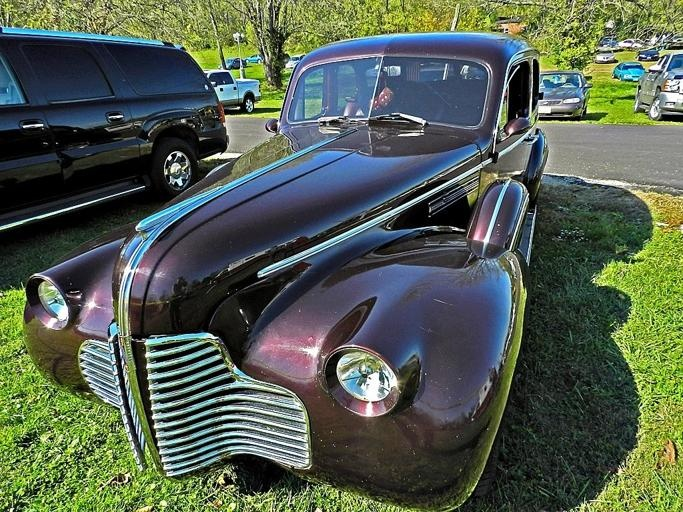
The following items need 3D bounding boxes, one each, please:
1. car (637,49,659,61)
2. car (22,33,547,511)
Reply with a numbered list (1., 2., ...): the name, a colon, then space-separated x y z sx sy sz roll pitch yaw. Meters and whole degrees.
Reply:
1. car: 25.975 -16.960 39.469 1.247 0.850 2.707 5 24 28
2. car: 0.238 -0.568 3.913 2.739 2.244 4.801 10 31 21
